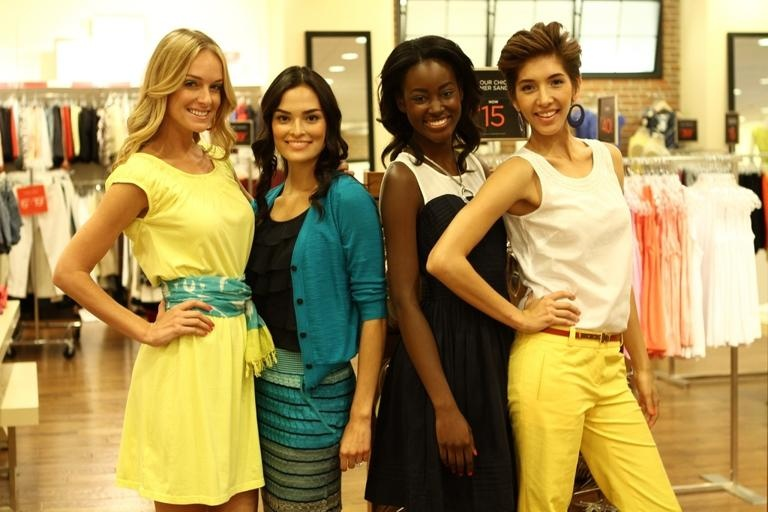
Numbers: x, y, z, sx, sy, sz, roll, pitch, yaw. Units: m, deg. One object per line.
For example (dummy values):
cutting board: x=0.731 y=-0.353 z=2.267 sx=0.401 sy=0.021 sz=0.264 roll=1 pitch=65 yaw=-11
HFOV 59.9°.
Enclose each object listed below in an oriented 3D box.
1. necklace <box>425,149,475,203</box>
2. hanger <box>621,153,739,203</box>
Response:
necklace: x=0.294 y=-0.307 z=2.760 sx=0.110 sy=0.298 sz=0.013 roll=-49 pitch=12 yaw=-31
hanger: x=2.037 y=-0.528 z=4.575 sx=0.647 sy=0.206 sz=0.544 roll=-1 pitch=5 yaw=7
